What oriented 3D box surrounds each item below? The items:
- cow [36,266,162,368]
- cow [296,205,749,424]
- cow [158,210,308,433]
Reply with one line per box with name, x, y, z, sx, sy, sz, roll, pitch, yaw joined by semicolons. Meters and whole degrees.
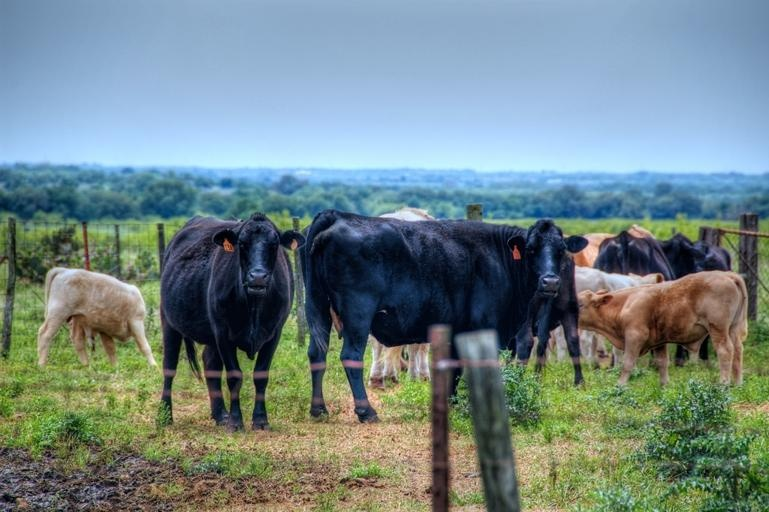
cow;-6.563;1.552;22.707;3.273;2.461;1.428;6;-13;-38
cow;0.781;1.102;19.386;4.747;3.910;1.069;-3;14;-6
cow;-3.244;1.172;19.069;2.784;4.138;1.826;7;16;31
